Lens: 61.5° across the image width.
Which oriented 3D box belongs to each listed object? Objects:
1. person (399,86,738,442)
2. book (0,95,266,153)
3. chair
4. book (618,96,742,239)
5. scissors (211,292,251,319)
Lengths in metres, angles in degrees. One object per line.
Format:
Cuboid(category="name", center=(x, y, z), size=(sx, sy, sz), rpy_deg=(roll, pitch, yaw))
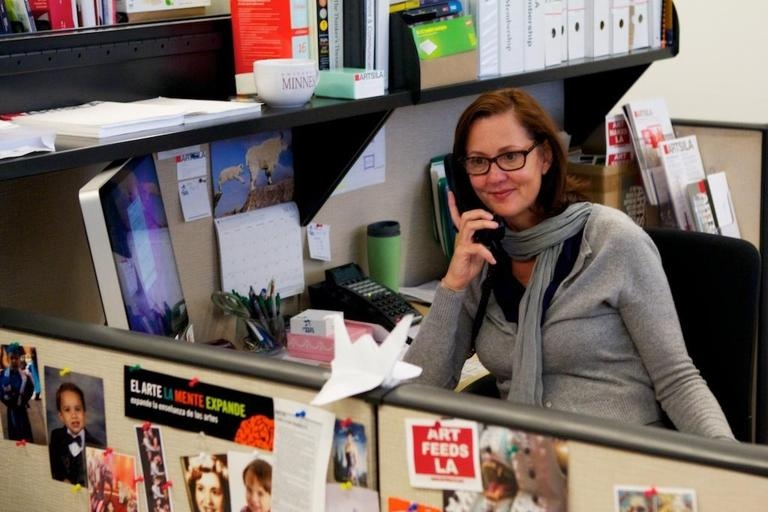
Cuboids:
Cuboid(category="person", center=(0.454, 0.061, 1.723), size=(0.871, 0.984, 0.456), rpy_deg=(-7, 12, 27))
Cuboid(category="book", center=(-0.557, -0.318, 1.477), size=(0.550, 0.096, 0.301), rpy_deg=(-11, 15, -40))
Cuboid(category="chair", center=(0.847, 0.206, 2.300), size=(0.596, 0.867, 0.741), rpy_deg=(0, 2, 35))
Cuboid(category="book", center=(1.184, -0.324, 2.702), size=(0.442, 0.635, 0.152), rpy_deg=(-13, 1, -21))
Cuboid(category="scissors", center=(-0.443, 0.143, 1.871), size=(0.117, 0.060, 0.033), rpy_deg=(36, -21, -25))
